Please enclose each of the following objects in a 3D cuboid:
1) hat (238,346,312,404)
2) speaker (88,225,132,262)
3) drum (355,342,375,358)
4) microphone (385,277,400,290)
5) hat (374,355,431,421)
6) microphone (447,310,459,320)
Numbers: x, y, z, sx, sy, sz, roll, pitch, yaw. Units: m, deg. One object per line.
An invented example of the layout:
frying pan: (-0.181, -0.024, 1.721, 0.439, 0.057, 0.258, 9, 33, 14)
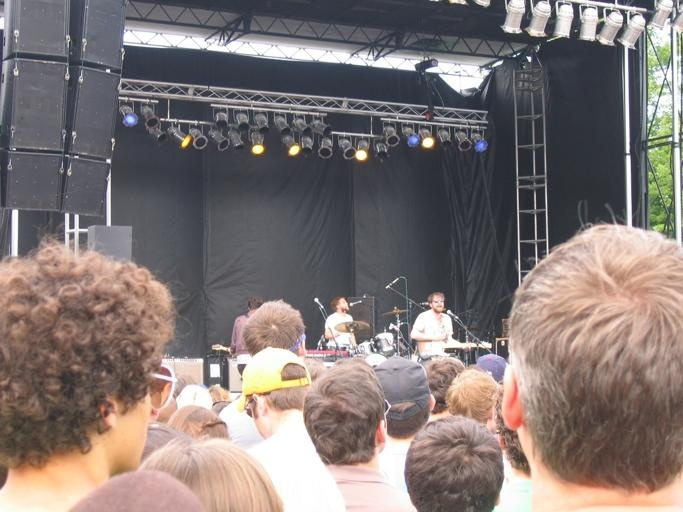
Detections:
hat: (-0.490, 0.889, 10.505, 0.420, 0.311, 0.573, -11, 5, -21)
speaker: (-2.178, -0.107, 11.958, 0.345, 0.323, 0.174, -7, 11, -30)
drum: (0.309, 1.163, 15.783, 0.267, 0.183, 0.285, -5, -23, -2)
microphone: (0.808, 0.446, 19.807, 0.249, 0.087, 0.058, -39, 19, -20)
hat: (0.529, 1.140, 10.755, 0.438, 0.694, 0.320, 0, 18, 9)
microphone: (1.640, 0.862, 18.439, 0.065, 0.231, 0.058, -41, -14, -29)
